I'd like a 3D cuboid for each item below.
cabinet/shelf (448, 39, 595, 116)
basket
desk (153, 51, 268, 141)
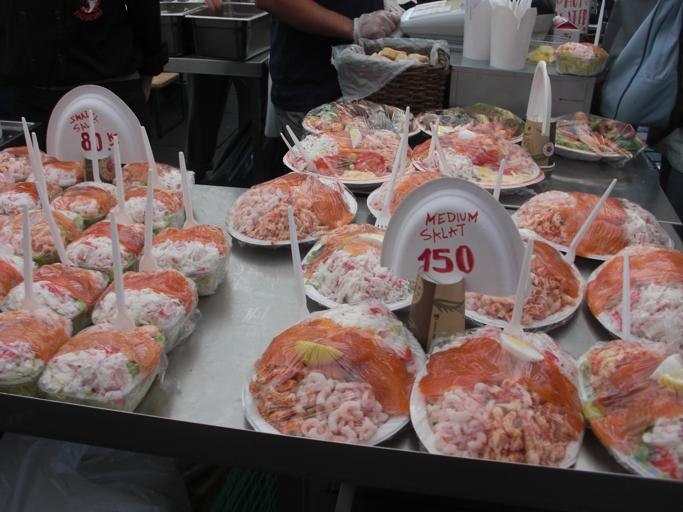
[{"bbox_3d":[0.863,-0.790,2.487,0.516,0.516,0.320,9,48,8],"label":"cabinet/shelf"},{"bbox_3d":[0.234,-0.836,2.325,0.410,0.249,0.532,4,33,8],"label":"basket"},{"bbox_3d":[-0.816,-1.103,3.354,0.536,0.443,0.602,13,47,5],"label":"desk"}]
